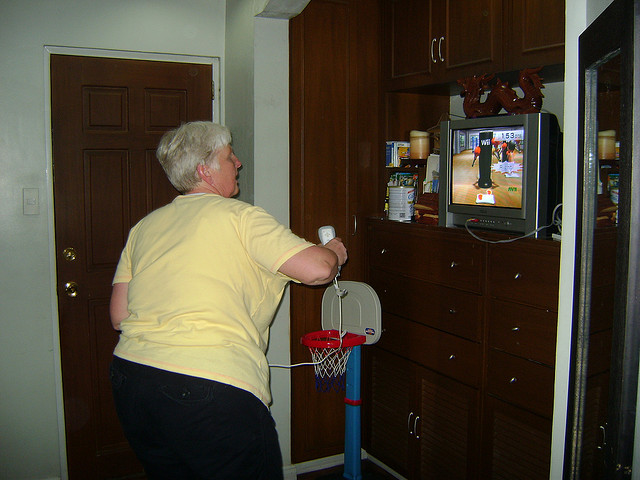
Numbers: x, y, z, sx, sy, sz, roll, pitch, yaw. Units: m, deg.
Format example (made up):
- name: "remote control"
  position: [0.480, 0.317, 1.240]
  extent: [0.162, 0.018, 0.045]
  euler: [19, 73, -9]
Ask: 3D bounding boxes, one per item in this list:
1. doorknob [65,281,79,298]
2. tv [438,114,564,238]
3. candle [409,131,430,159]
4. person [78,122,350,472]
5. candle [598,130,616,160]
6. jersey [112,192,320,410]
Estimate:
- name: "doorknob"
  position: [-1.472, 0.297, 3.180]
  extent: [0.070, 0.094, 0.030]
  euler: [-5, 7, -25]
- name: "tv"
  position: [0.911, -0.352, 2.785]
  extent: [0.550, 0.583, 0.301]
  euler: [6, 10, 42]
- name: "candle"
  position: [0.590, -0.564, 3.183]
  extent: [0.130, 0.159, 0.142]
  euler: [0, 4, 0]
- name: "person"
  position: [-0.393, 0.186, 1.958]
  extent: [0.719, 1.228, 0.594]
  euler: [-4, 7, -23]
- name: "candle"
  position: [0.864, -0.291, 1.626]
  extent: [0.050, 0.095, 0.054]
  euler: [2, 7, 41]
- name: "jersey"
  position: [-0.452, 0.199, 1.966]
  extent: [0.766, 0.709, 0.427]
  euler: [-1, -14, 18]
